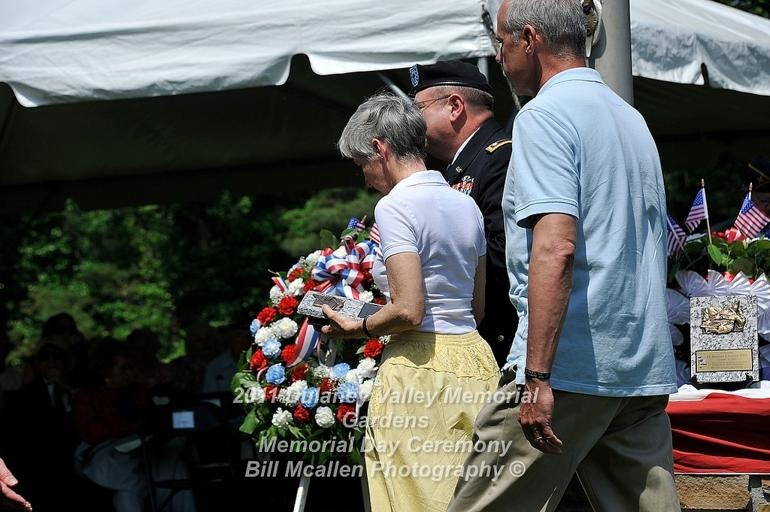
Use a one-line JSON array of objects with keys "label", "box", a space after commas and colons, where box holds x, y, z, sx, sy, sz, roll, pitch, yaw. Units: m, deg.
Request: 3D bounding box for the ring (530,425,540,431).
[{"label": "ring", "box": [0.826, 0.939, 6.625, 0.042, 0.043, 0.011, -4, -4, 2]}]

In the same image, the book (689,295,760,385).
[{"label": "book", "box": [2.175, 0.529, 7.742, 0.573, 0.744, 0.100, 0, -4, 5]}]

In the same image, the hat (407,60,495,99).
[{"label": "hat", "box": [0.400, -1.154, 7.826, 0.350, 0.125, 0.269, 4, -4, 8]}]

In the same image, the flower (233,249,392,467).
[{"label": "flower", "box": [-0.545, 0.642, 7.917, 1.283, 1.282, 0.494, -13, -8, 21]}]

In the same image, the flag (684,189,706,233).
[{"label": "flag", "box": [2.098, -0.314, 8.175, 0.154, 0.292, 0.323, -5, -4, 14]}]
